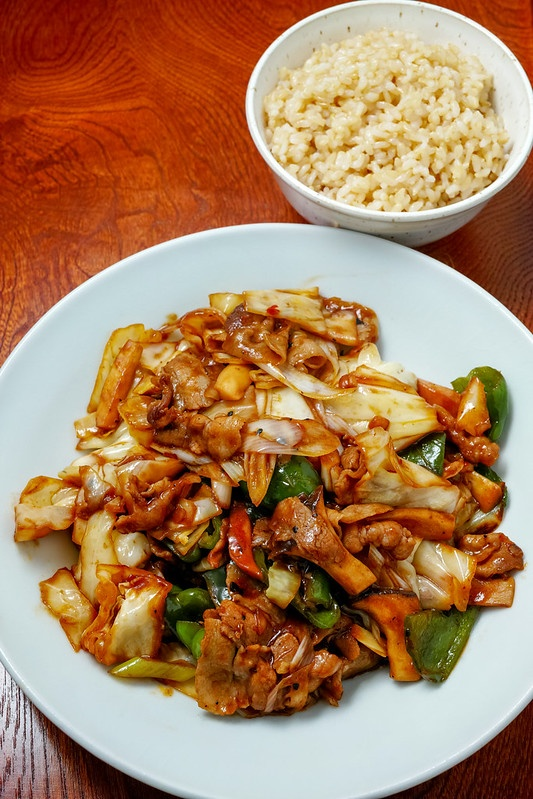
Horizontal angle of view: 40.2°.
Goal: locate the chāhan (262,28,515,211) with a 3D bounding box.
[{"bbox_3d":[0.359,-0.844,2.197,0.726,0.204,0.680,-15,62,-4],"label":"chāhan"}]
